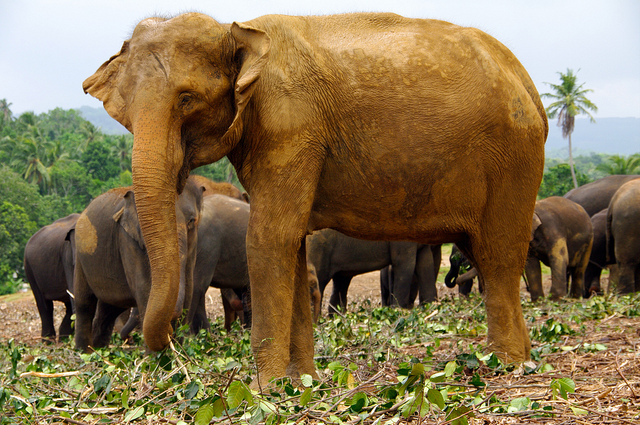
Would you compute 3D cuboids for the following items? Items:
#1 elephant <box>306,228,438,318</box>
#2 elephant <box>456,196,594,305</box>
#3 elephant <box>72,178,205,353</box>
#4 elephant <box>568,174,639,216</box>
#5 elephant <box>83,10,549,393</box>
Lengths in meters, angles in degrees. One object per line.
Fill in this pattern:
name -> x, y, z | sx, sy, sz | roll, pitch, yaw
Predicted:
elephant -> 0.724, 0.864, 9.771 | 2.034, 1.301, 1.013 | 1, -6, -6
elephant -> 3.139, 0.611, 9.596 | 2.396, 1.463, 1.174 | -4, -4, -34
elephant -> -1.857, 0.642, 7.185 | 2.231, 1.797, 0.974 | -8, -7, 33
elephant -> 5.287, -0.375, 12.148 | 1.334, 0.740, 0.632 | -14, -3, 13
elephant -> -0.028, -0.063, 5.410 | 3.659, 2.873, 1.800 | 0, 4, -1
